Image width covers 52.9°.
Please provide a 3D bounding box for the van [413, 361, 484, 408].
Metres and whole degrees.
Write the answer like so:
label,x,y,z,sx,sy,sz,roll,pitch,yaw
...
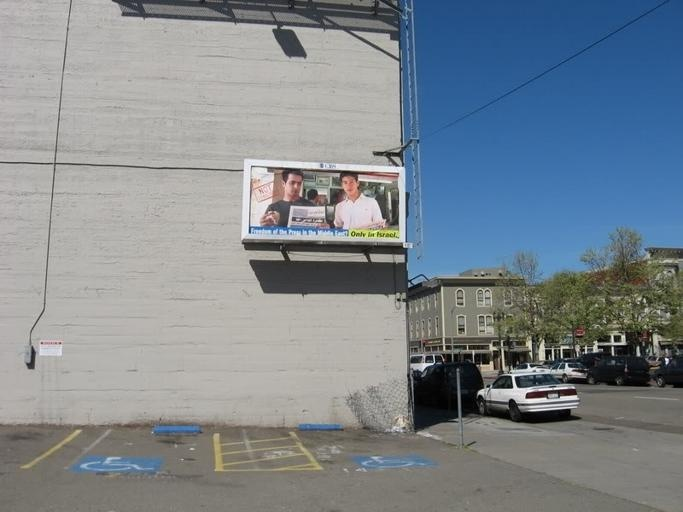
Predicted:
label,x,y,z,sx,sy,sz,roll,pitch,yaw
van,4.402,5.360,28.274,2.053,1.560,4.125,1,-5,-13
